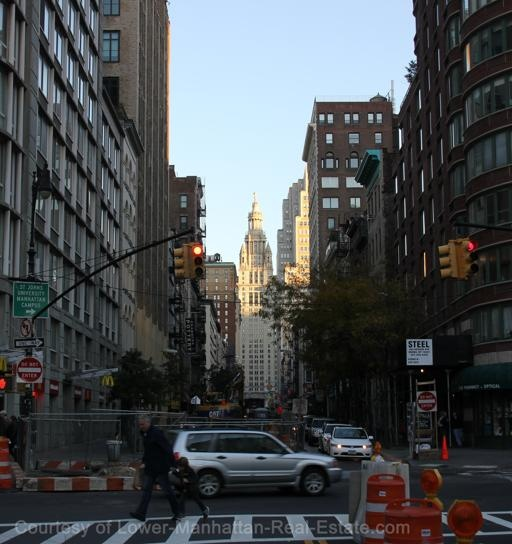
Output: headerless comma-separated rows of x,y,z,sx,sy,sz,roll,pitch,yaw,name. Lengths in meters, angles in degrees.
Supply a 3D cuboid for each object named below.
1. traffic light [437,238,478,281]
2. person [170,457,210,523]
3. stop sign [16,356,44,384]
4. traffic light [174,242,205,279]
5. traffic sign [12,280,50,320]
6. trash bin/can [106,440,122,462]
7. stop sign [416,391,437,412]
4.925,-0.257,22.830,0.833,1.273,1.080,-1,-1,1,traffic light
-1.217,3.987,16.816,0.517,0.441,1.299,1,34,-12,person
-5.877,2.538,24.023,0.719,1.119,0.138,1,-6,-7,stop sign
-1.415,-0.189,19.764,0.639,1.082,0.714,-1,-2,2,traffic light
-5.952,0.783,24.490,0.912,1.303,0.135,5,-46,-20,traffic sign
-3.681,4.618,23.941,0.365,0.615,0.439,0,-5,2,trash bin/can
5.987,4.566,32.764,0.667,0.698,0.878,-3,-11,8,stop sign
